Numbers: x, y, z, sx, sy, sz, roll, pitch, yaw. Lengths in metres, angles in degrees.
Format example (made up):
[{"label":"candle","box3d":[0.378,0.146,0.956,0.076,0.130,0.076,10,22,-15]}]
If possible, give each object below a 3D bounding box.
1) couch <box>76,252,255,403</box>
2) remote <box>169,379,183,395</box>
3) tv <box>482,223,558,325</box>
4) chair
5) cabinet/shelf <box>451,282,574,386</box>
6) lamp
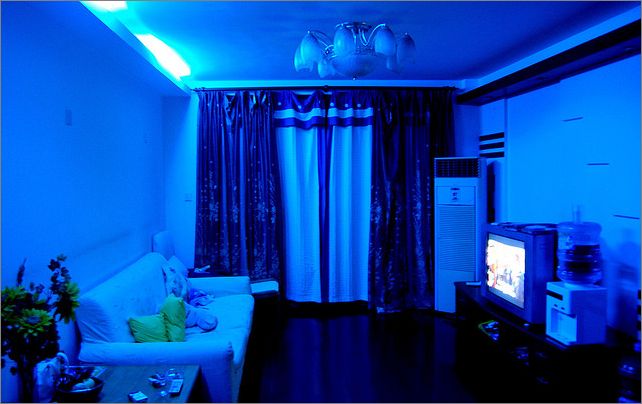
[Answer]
[{"label":"couch","box3d":[-1.415,1.143,4.467,1.241,0.932,1.990,0,2,-4]},{"label":"remote","box3d":[-1.134,1.444,3.640,0.080,0.076,0.079,9,-19,-40]},{"label":"tv","box3d":[1.912,0.684,4.591,0.289,0.886,0.707,-5,3,-29]},{"label":"chair","box3d":[-1.143,0.802,5.464,1.642,0.999,0.863,0,2,0]},{"label":"cabinet/shelf","box3d":[1.680,1.356,4.805,1.728,0.580,0.582,18,3,-40]},{"label":"lamp","box3d":[0.334,-1.443,4.308,1.025,0.556,0.735,-1,3,24]}]
